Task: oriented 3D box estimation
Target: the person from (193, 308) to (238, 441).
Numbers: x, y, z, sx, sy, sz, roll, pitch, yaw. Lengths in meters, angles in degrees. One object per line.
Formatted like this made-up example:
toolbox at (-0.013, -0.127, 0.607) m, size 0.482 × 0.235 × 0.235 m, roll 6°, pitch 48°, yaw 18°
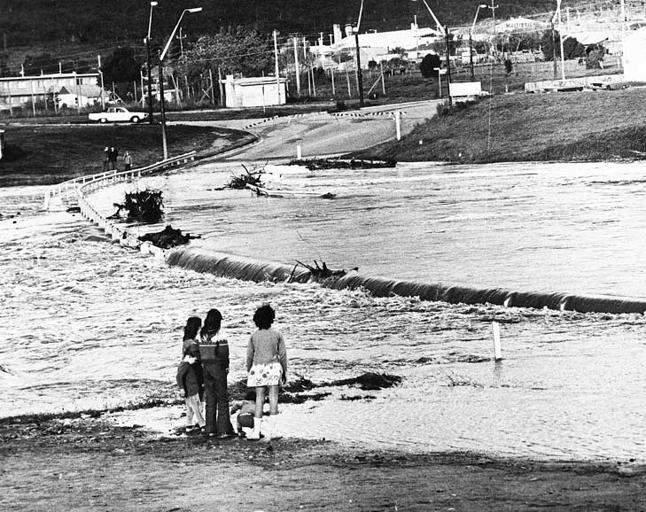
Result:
person at (-2.076, 2.252, 28.659) m, size 0.581 × 2.480 × 0.536 m, roll -4°, pitch 5°, yaw -6°

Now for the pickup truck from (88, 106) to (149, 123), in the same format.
pickup truck at (-15.041, -10.089, 108.576) m, size 3.589 × 1.267 × 1.727 m, roll -3°, pitch 12°, yaw -2°

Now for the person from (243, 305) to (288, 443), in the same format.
person at (-1.111, 2.200, 28.519) m, size 0.844 × 2.525 × 0.508 m, roll -3°, pitch 5°, yaw 12°
